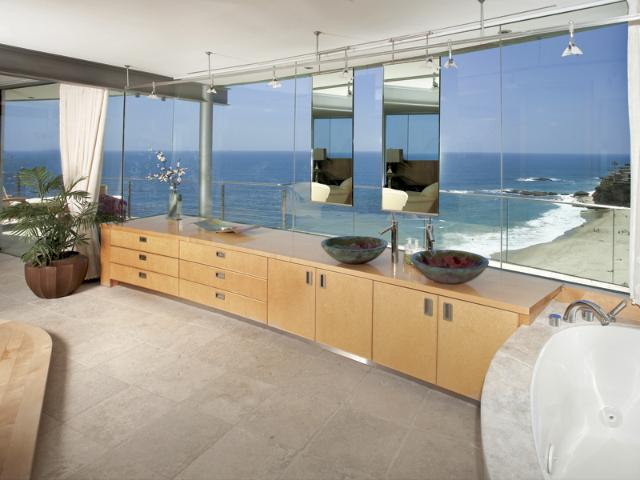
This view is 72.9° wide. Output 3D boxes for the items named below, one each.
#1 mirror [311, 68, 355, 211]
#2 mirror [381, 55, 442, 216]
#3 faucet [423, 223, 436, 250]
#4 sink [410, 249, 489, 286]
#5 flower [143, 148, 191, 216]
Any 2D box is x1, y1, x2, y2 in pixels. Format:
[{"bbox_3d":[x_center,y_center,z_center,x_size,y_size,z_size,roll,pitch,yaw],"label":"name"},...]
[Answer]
[{"bbox_3d":[0.109,-0.955,4.174,0.481,1.217,0.130,8,17,32],"label":"mirror"},{"bbox_3d":[0.780,-0.854,3.722,0.596,1.263,0.145,10,18,37],"label":"mirror"},{"bbox_3d":[0.862,-0.022,3.440,0.075,0.193,0.164,2,14,12],"label":"faucet"},{"bbox_3d":[0.955,0.206,3.243,0.549,0.184,0.483,0,12,6],"label":"sink"},{"bbox_3d":[-1.857,-0.732,5.299,0.890,0.935,0.352,8,9,33],"label":"flower"}]
